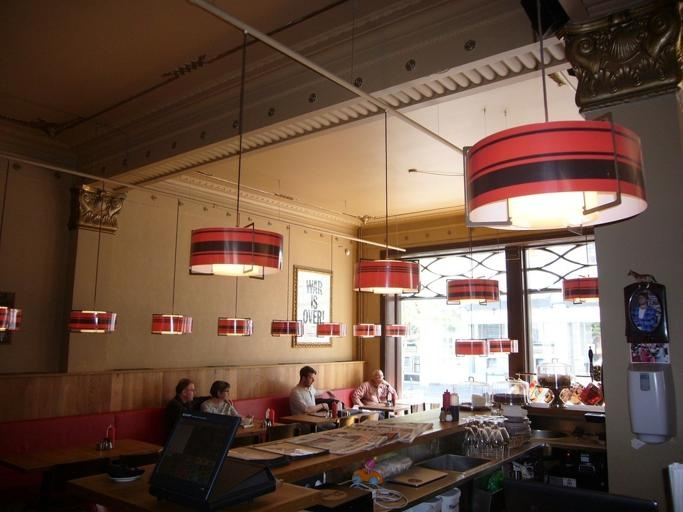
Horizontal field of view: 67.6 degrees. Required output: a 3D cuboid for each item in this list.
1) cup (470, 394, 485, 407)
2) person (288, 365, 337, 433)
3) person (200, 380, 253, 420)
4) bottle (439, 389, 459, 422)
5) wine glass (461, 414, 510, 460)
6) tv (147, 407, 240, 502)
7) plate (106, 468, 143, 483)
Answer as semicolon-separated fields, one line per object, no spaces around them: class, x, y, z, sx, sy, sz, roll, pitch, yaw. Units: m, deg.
cup;1.643;1.709;6.051;0.170;0.132;0.236;-2;-10;15
person;-0.617;2.629;9.658;0.848;1.246;0.847;-4;-10;9
person;-1.791;2.290;7.834;0.747;0.722;0.545;-5;-8;32
bottle;1.089;1.496;5.131;0.184;0.277;0.336;-1;-9;11
wine glass;1.441;1.767;5.036;0.334;0.264;0.344;-2;-5;18
tv;-0.789;1.071;2.732;0.471;0.418;0.176;-5;-11;30
plate;-1.281;1.289;3.046;0.205;0.066;0.169;7;-11;-33
